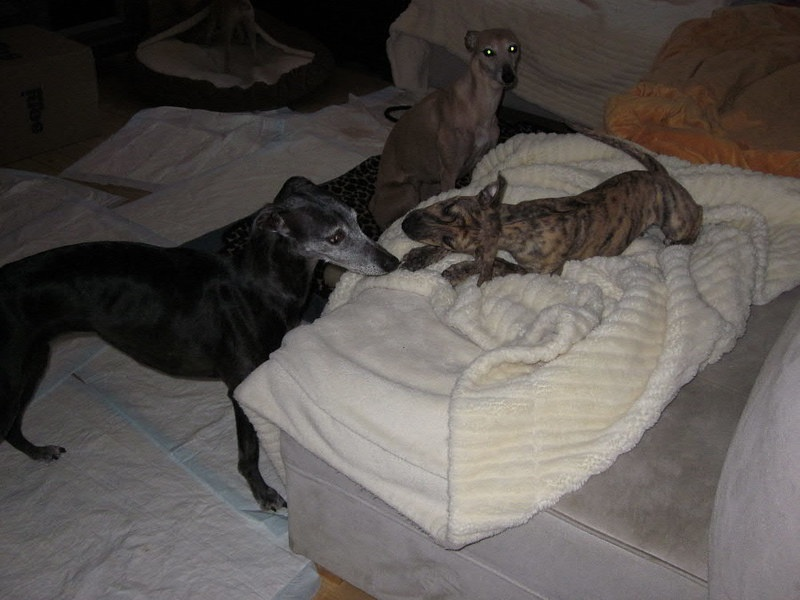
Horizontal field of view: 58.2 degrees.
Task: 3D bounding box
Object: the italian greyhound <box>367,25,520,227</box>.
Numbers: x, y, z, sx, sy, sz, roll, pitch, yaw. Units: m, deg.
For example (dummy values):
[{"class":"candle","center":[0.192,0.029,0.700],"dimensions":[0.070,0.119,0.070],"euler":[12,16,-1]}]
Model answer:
[{"class":"italian greyhound","center":[0.262,-0.847,3.866],"dimensions":[0.459,1.067,0.842],"euler":[-18,30,-42]}]
